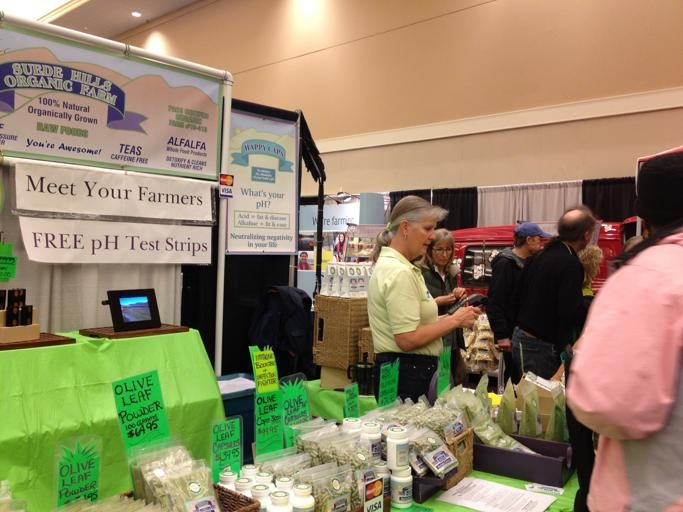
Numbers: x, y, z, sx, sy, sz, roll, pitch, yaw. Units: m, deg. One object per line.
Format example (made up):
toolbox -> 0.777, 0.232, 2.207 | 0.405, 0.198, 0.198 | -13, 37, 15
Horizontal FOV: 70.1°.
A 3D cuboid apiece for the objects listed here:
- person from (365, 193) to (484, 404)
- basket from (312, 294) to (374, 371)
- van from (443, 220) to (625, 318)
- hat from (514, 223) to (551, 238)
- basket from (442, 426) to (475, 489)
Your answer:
person -> 0.390, 0.206, 2.468 | 0.505, 1.030, 0.633 | -1, 2, 4
basket -> -0.012, 0.540, 3.657 | 0.421, 0.637, 0.477 | 0, 0, 25
van -> 2.783, -0.085, 7.347 | 2.419, 1.601, 1.506 | 3, 3, 24
hat -> 1.789, -0.237, 4.484 | 0.374, 0.156, 0.246 | 2, 6, -12
basket -> 0.477, 0.785, 1.926 | 0.139, 0.173, 0.230 | -2, -3, -6
